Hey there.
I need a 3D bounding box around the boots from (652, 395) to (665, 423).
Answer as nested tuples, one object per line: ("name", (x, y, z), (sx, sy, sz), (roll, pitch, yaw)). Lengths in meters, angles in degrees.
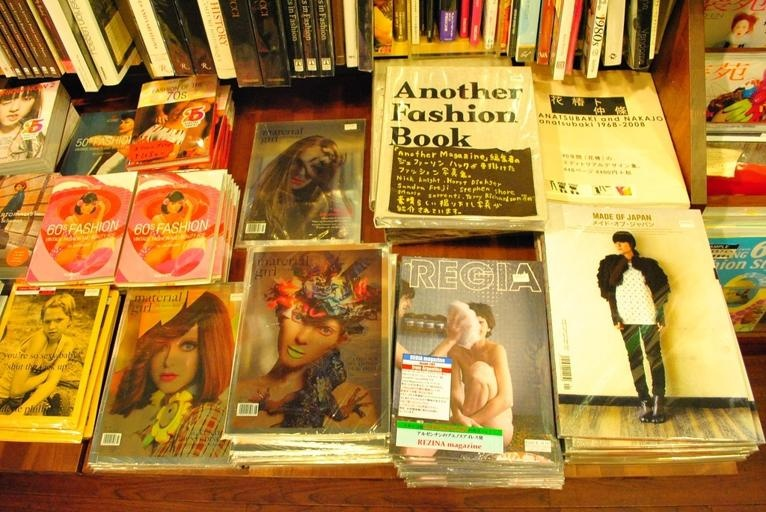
("boots", (0.792, 0.443, 1.532), (0.038, 0.040, 0.066), (8, 39, 19))
